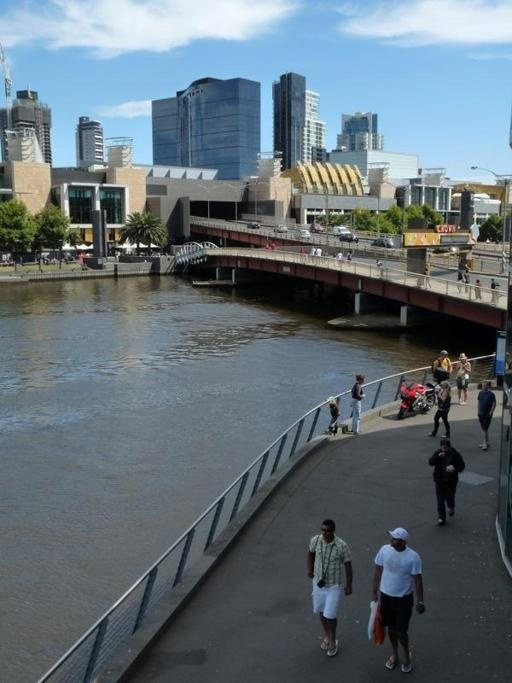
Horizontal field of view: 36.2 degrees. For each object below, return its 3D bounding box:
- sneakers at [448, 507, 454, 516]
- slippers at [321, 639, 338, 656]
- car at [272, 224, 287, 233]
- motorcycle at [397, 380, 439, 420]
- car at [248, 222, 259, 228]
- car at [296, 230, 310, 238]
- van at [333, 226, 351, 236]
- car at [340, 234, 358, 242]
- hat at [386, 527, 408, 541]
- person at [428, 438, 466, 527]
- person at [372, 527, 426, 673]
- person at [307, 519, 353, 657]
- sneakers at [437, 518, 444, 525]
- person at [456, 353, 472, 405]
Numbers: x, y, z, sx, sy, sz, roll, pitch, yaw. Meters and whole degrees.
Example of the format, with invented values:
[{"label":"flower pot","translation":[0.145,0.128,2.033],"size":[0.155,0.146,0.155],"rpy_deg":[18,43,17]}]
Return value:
[{"label":"sneakers","translation":[3.285,2.857,13.062],"size":[0.067,0.126,0.186],"rpy_deg":[3,48,26]},{"label":"slippers","translation":[0.865,3.514,8.994],"size":[0.125,0.045,0.177],"rpy_deg":[2,14,20]},{"label":"car","translation":[3.462,-15.603,108.766],"size":[1.287,0.872,2.470],"rpy_deg":[-2,10,-7]},{"label":"motorcycle","translation":[4.333,1.622,22.106],"size":[1.592,0.866,0.616],"rpy_deg":[-5,9,-38]},{"label":"car","translation":[-0.391,-16.790,113.563],"size":[1.434,0.712,2.023],"rpy_deg":[5,13,-5]},{"label":"car","translation":[6.314,-13.641,101.108],"size":[1.041,0.777,2.418],"rpy_deg":[0,20,-3]},{"label":"van","translation":[11.602,-14.545,105.096],"size":[1.502,1.500,4.001],"rpy_deg":[-5,13,-5]},{"label":"car","translation":[11.770,-12.851,98.071],"size":[1.216,0.930,1.918],"rpy_deg":[-22,23,-40]},{"label":"hat","translation":[1.578,2.124,8.568],"size":[0.158,0.159,0.261],"rpy_deg":[-6,5,16]},{"label":"person","translation":[3.181,2.282,12.926],"size":[0.522,1.441,0.722],"rpy_deg":[-6,5,10]},{"label":"person","translation":[1.568,2.822,8.613],"size":[0.555,1.545,0.458],"rpy_deg":[-7,5,8]},{"label":"person","translation":[0.870,2.753,9.363],"size":[0.482,1.582,1.316],"rpy_deg":[-7,5,1]},{"label":"sneakers","translation":[3.052,2.975,12.876],"size":[0.065,0.052,0.116],"rpy_deg":[5,-18,28]},{"label":"person","translation":[6.274,1.094,23.596],"size":[0.430,1.302,2.028],"rpy_deg":[-6,5,14]}]
